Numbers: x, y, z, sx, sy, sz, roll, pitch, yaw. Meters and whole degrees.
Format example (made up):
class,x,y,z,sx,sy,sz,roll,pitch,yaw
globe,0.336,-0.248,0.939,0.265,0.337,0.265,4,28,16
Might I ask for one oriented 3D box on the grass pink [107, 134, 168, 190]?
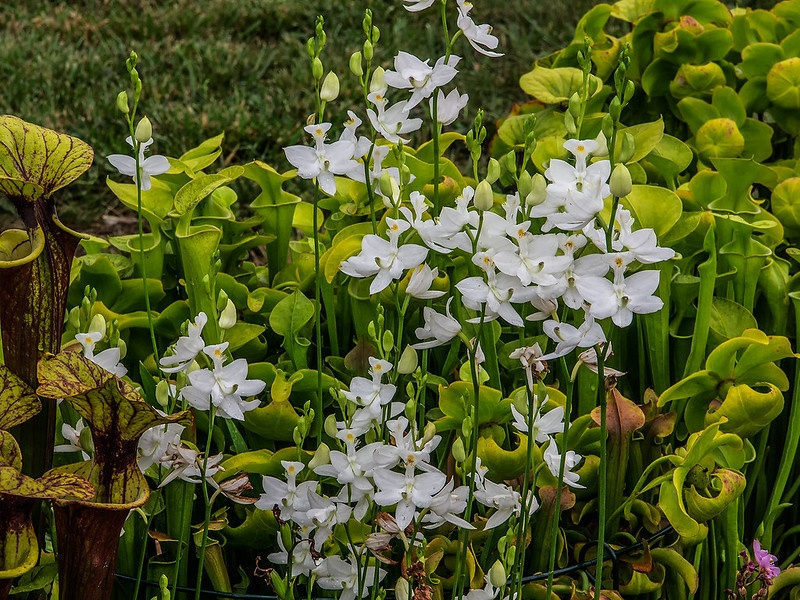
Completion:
class,x,y,z,sx,sy,sz,roll,pitch,yaw
grass pink,-0.582,-0.307,2.339,0.122,0.122,0.273,2,0,-13

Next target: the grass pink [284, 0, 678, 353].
class,x,y,z,sx,sy,sz,roll,pitch,yaw
grass pink,0.174,-0.288,2.367,0.848,0.750,0.762,2,0,8

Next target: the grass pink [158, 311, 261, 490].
class,x,y,z,sx,sy,sz,roll,pitch,yaw
grass pink,-0.410,0.227,2.253,0.256,0.399,0.228,-5,23,-18

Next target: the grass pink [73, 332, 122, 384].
class,x,y,z,sx,sy,sz,roll,pitch,yaw
grass pink,-0.631,0.113,2.201,0.099,0.096,0.260,2,0,-13

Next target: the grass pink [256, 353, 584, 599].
class,x,y,z,sx,sy,sz,roll,pitch,yaw
grass pink,0.026,0.423,2.348,0.521,0.608,0.333,12,2,7
